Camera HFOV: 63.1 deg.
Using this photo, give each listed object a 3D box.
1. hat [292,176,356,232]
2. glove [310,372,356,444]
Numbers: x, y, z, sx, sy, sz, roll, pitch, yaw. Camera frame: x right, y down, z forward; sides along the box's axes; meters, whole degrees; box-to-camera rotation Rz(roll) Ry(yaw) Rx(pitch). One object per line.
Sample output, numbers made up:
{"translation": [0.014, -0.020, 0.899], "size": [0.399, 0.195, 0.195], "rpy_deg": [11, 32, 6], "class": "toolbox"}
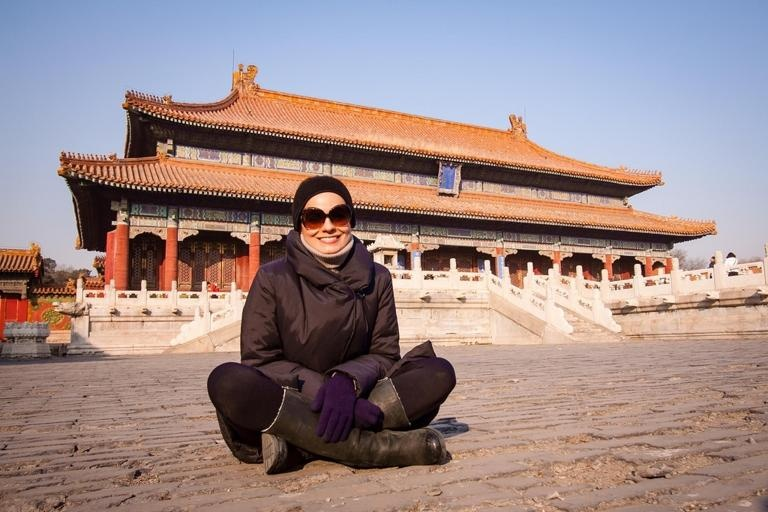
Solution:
{"translation": [-0.439, -0.438, 4.593], "size": [0.427, 0.297, 0.388], "rpy_deg": [-7, -5, -24], "class": "hat"}
{"translation": [-0.297, 0.953, 3.933], "size": [0.287, 0.414, 0.146], "rpy_deg": [-1, -1, -17], "class": "glove"}
